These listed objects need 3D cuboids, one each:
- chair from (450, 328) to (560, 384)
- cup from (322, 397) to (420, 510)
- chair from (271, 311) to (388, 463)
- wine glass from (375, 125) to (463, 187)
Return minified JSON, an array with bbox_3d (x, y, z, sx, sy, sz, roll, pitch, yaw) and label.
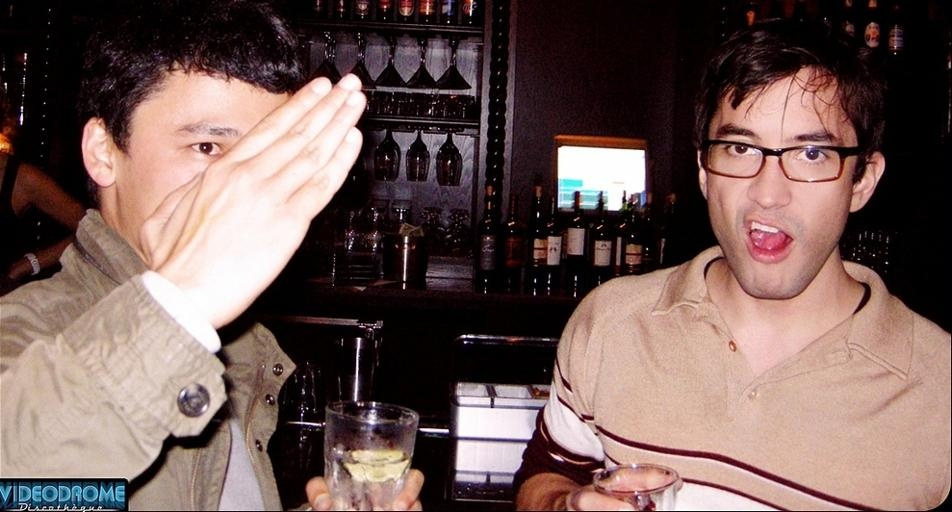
[{"bbox_3d":[0.289,0.605,4.038,0.680,0.284,0.466,-4,-13,30],"label":"chair"},{"bbox_3d":[-0.273,0.545,2.006,0.317,0.297,0.289,3,-9,0],"label":"cup"},{"bbox_3d":[-0.743,0.576,3.214,0.589,0.574,0.568,10,-13,-40],"label":"chair"},{"bbox_3d":[-0.405,-0.700,4.857,0.470,0.342,0.149,1,5,-7],"label":"wine glass"}]
